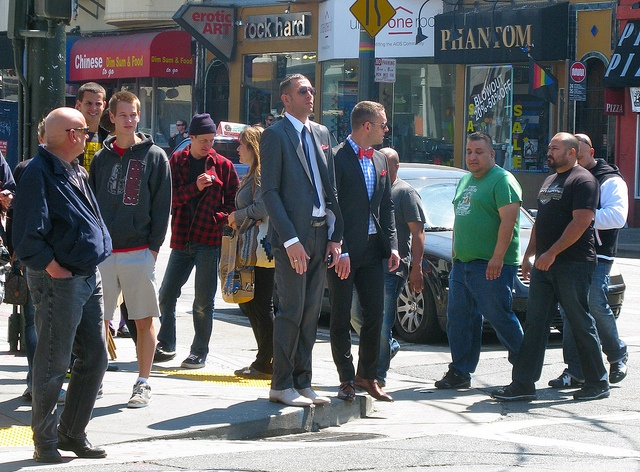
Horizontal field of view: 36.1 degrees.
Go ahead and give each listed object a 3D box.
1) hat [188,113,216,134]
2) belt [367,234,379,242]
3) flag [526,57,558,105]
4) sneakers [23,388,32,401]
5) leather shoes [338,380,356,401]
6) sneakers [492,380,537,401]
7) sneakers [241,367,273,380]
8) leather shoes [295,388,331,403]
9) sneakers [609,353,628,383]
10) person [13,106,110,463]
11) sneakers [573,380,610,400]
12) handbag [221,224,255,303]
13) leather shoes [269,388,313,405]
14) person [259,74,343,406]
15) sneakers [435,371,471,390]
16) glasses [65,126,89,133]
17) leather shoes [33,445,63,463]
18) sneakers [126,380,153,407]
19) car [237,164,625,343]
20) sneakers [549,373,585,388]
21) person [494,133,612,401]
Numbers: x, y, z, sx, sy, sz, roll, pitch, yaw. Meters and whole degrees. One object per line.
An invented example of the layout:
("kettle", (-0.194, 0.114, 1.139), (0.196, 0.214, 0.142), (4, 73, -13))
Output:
("hat", (-1.199, -1.127, 9.927), (0.209, 0.179, 0.204), (-2, 4, 36))
("belt", (0.482, 0.009, 8.974), (0.083, 0.063, 0.048), (-3, 4, -17))
("flag", (5.155, -3.624, 22.641), (0.908, 1.381, 0.152), (3, 6, 16))
("sneakers", (-2.502, 1.349, 8.389), (0.070, 0.100, 0.215), (3, -10, -16))
("leather shoes", (0.239, 1.377, 8.759), (0.110, 0.151, 0.328), (1, -9, -3))
("sneakers", (1.855, 1.485, 9.411), (0.437, 0.229, 0.170), (3, -1, 0))
("sneakers", (-0.631, 1.345, 9.628), (0.339, 0.151, 0.122), (5, -5, 2))
("leather shoes", (-0.053, 1.379, 8.500), (0.304, 0.143, 0.119), (11, 4, 20))
("sneakers", (3.050, 1.351, 10.058), (0.116, 0.148, 0.368), (-18, 13, 35))
("person", (-1.943, 0.352, 7.380), (0.706, 2.602, 0.490), (0, 6, -15))
("sneakers", (2.614, 1.462, 9.412), (0.362, 0.181, 0.149), (0, -1, -20))
("handbag", (-0.777, 0.258, 9.348), (0.341, 0.987, 0.612), (3, -5, -14))
("leather shoes", (-0.257, 1.373, 8.343), (0.276, 0.124, 0.162), (2, 2, 1))
("person", (-0.163, 0.039, 8.399), (0.731, 2.801, 0.542), (0, 6, -18))
("sneakers", (1.323, 1.434, 9.780), (0.382, 0.194, 0.143), (1, -1, -8))
("glasses", (-1.856, -0.812, 7.426), (0.111, 0.038, 0.110), (-3, 5, -22))
("leather shoes", (-2.021, 1.607, 7.256), (0.207, 0.099, 0.095), (-2, -5, 35))
("sneakers", (-1.543, 1.332, 8.355), (0.186, 0.177, 0.276), (1, 7, -8))
("car", (1.367, 0.158, 12.326), (1.784, 1.425, 3.911), (0, -2, -31))
("sneakers", (2.454, 1.449, 9.815), (0.352, 0.171, 0.140), (2, -2, -3))
("person", (2.320, 0.285, 9.470), (0.985, 2.525, 0.703), (2, 6, 6))
